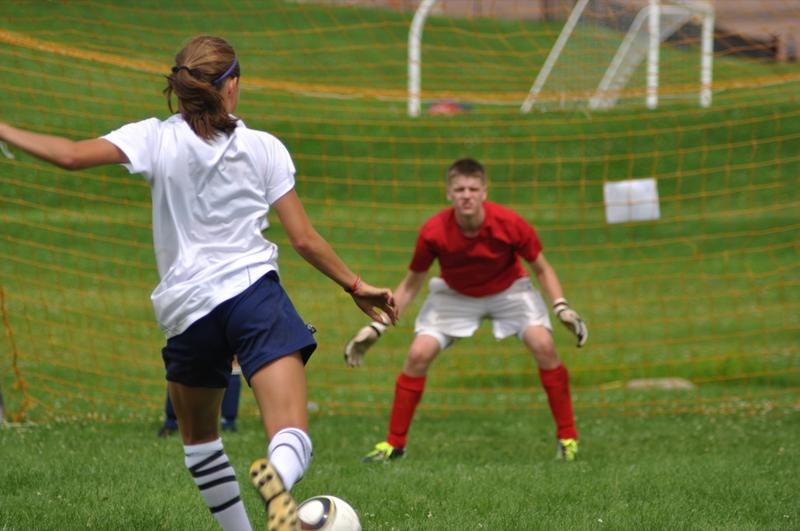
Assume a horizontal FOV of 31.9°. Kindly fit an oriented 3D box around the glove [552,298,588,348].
[{"bbox_3d":[1.835,0.623,14.983,0.275,0.530,0.331,-7,5,-2],"label":"glove"}]
